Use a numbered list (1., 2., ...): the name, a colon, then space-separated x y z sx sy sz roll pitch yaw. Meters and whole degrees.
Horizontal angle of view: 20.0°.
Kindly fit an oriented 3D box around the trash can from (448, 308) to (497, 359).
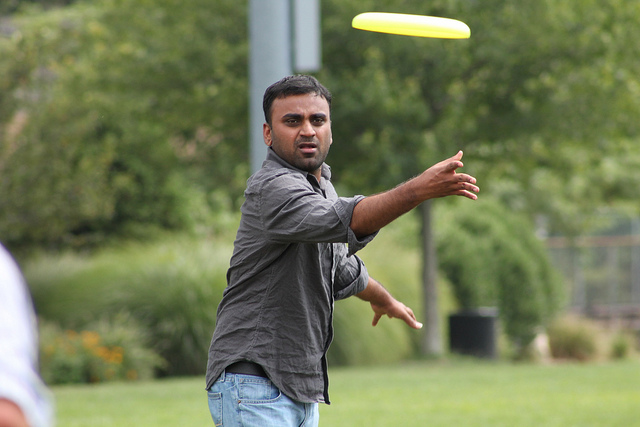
1. trash can: 1.523 1.220 18.364 0.418 0.502 0.774 -2 -4 -2
